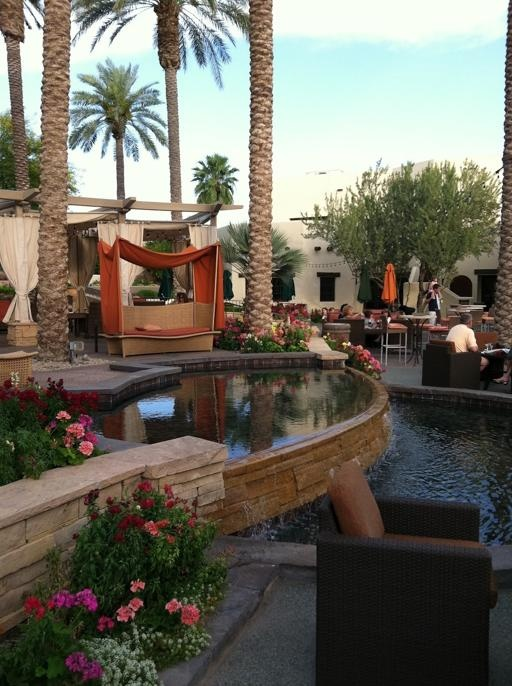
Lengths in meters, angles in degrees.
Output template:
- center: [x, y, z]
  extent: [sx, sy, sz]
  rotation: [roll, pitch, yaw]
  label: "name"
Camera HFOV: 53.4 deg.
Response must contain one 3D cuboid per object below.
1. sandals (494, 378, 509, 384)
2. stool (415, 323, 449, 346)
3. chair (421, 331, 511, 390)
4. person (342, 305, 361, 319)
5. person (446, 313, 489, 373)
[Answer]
- center: [4.448, 0.669, 9.252]
  extent: [0.296, 0.127, 0.109]
  rotation: [4, -1, 17]
  label: "sandals"
- center: [4.887, -0.273, 14.151]
  extent: [0.798, 0.505, 0.552]
  rotation: [-1, 2, 0]
  label: "stool"
- center: [3.760, 0.332, 9.393]
  extent: [0.952, 0.979, 1.368]
  rotation: [-4, 7, -18]
  label: "chair"
- center: [3.084, -1.012, 16.760]
  extent: [0.628, 0.287, 0.872]
  rotation: [1, -2, 8]
  label: "person"
- center: [3.914, -0.054, 9.465]
  extent: [0.763, 0.977, 0.751]
  rotation: [6, 2, 2]
  label: "person"
